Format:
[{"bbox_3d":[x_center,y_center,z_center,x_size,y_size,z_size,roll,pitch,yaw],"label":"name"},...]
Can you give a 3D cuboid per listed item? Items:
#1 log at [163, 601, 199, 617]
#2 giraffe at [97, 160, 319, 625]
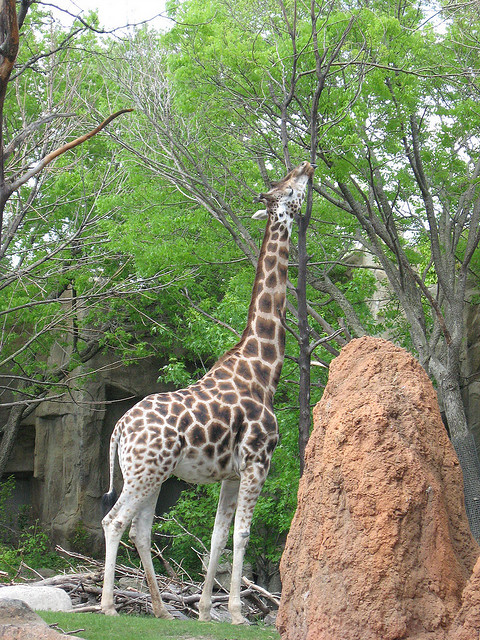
[{"bbox_3d":[-0.606,2.940,7.858,0.359,0.109,0.027,20,-56,-3],"label":"log"},{"bbox_3d":[-0.191,0.331,7.193,1.227,4.736,1.748,-2,-18,29],"label":"giraffe"}]
